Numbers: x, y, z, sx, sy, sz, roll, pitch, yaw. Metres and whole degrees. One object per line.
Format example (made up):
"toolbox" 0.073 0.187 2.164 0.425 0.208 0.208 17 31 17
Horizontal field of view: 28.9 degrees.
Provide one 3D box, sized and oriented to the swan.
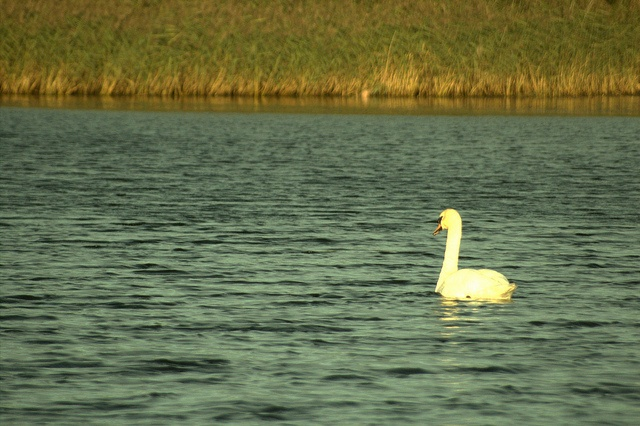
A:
"swan" 2.932 0.908 24.787 1.127 1.577 1.783 -8 20 -23
